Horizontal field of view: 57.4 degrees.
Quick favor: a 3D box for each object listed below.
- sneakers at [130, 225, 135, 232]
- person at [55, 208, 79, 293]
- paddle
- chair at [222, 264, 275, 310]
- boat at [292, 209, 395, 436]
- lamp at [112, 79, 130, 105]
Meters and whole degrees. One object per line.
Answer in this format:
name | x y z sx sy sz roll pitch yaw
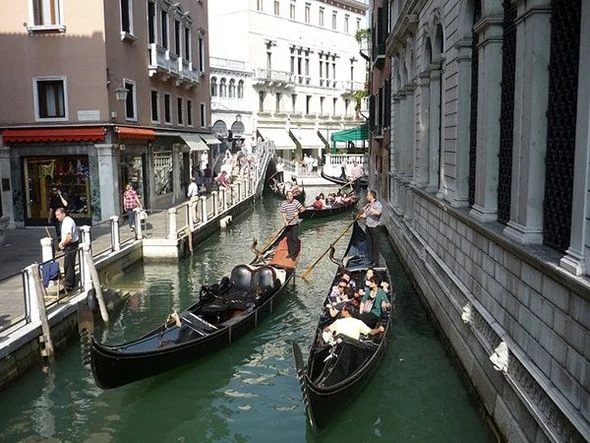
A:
sneakers | -5.266 0.219 17.355 0.052 0.213 0.133 4 12 -6
person | -5.355 0.639 12.697 0.439 1.815 1.349 -6 12 -23
paddle | 1.383 0.700 19.886 3.162 0.321 0.450 -52 30 -14
chair | -1.135 1.614 13.075 0.748 0.761 1.140 2 14 5
boat | 1.268 1.916 10.784 1.048 2.158 5.963 1 20 14
lamp | -6.748 -4.988 20.706 0.460 0.792 2.023 -5 12 -18
